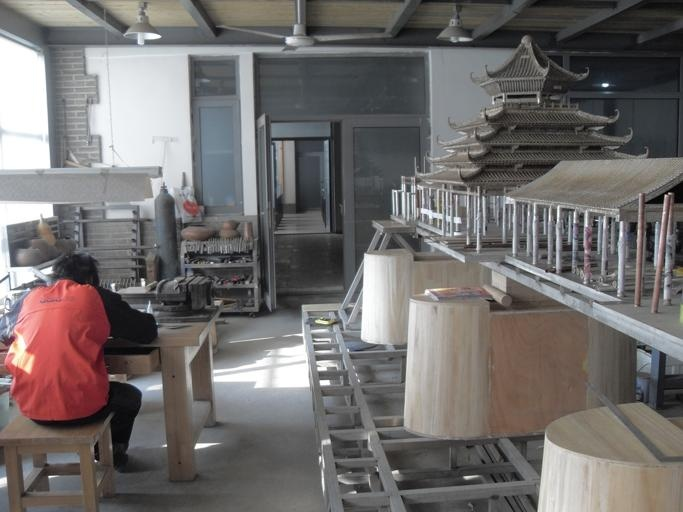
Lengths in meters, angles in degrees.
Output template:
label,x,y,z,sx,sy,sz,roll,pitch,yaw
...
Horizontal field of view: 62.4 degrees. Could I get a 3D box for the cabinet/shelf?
label,x,y,z,sx,sy,sz,roll,pitch,yaw
cabinet/shelf,-1.339,0.174,6.253,1.181,0.992,0.599,-1,1,-5

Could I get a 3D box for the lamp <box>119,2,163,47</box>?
label,x,y,z,sx,sy,sz,roll,pitch,yaw
lamp,-2.123,-2.493,5.962,0.298,0.465,0.755,-6,13,-18

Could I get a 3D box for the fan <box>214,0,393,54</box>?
label,x,y,z,sx,sy,sz,roll,pitch,yaw
fan,-0.457,-2.536,6.284,1.875,0.580,1.909,-3,12,-8

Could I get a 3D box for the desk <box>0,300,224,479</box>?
label,x,y,z,sx,sy,sz,roll,pitch,yaw
desk,-1.421,0.861,3.858,1.183,0.933,1.091,-1,2,4

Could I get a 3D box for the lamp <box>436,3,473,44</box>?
label,x,y,z,sx,sy,sz,roll,pitch,yaw
lamp,1.271,-2.604,6.341,0.324,0.403,0.519,1,12,10
